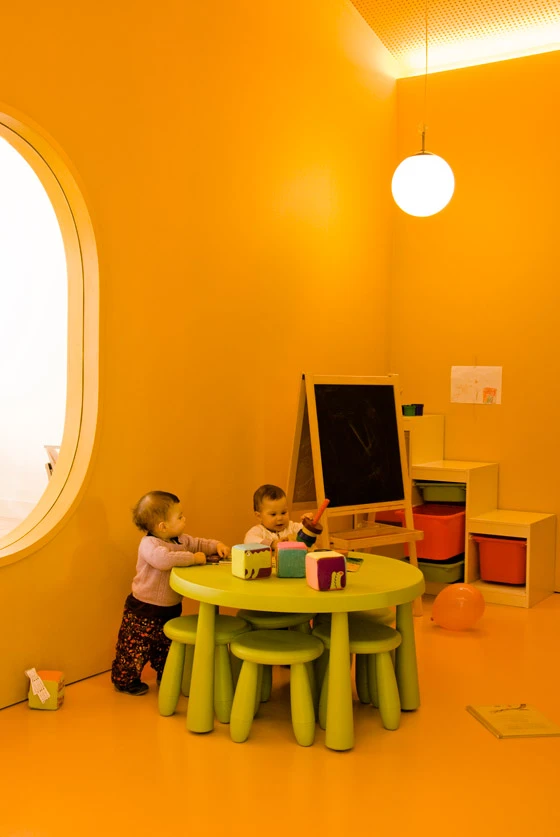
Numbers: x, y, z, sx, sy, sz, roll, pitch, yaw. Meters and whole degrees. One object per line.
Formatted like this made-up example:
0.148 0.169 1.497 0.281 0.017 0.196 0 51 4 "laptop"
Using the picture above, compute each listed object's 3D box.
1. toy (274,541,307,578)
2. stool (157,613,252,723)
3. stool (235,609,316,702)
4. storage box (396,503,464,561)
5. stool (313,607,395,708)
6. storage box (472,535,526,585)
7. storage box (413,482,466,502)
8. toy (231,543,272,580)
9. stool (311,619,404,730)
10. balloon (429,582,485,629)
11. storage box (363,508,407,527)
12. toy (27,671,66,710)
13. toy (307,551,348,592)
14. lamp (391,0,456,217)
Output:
0.035 0.421 1.895 0.081 0.098 0.089 1 0 2 "toy"
-0.232 0.727 1.913 0.243 0.306 0.258 3 -4 -10 "stool"
-0.010 0.713 2.023 0.234 0.298 0.244 0 -1 29 "stool"
0.872 0.608 3.490 0.256 0.265 0.340 -2 -4 33 "storage box"
0.236 0.710 1.915 0.240 0.303 0.256 -3 -2 22 "stool"
1.190 0.760 3.373 0.315 0.265 0.224 -4 -7 40 "storage box"
0.907 0.418 3.572 0.181 0.072 0.148 -2 -5 36 "storage box"
-0.084 0.411 1.860 0.094 0.104 0.094 0 1 -36 "toy"
0.226 0.747 1.881 0.241 0.297 0.257 0 -8 2 "stool"
0.804 0.868 2.837 0.213 0.194 0.253 -1 -35 10 "balloon"
0.635 0.568 3.578 0.172 0.073 0.136 -5 -7 36 "storage box"
-0.678 0.790 1.811 0.099 0.114 0.106 1 -3 -8 "toy"
0.128 0.406 1.693 0.088 0.098 0.091 -5 -8 44 "toy"
0.824 -1.745 3.694 0.332 1.353 0.717 -5 -34 17 "lamp"
